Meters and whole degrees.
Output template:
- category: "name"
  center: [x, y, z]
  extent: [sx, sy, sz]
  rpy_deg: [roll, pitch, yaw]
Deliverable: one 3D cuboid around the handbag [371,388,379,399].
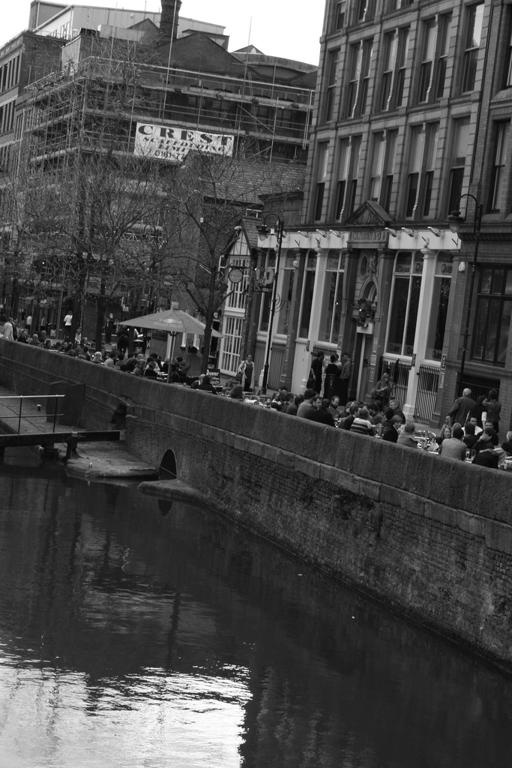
- category: "handbag"
  center: [3.881, 0.341, 29.160]
  extent: [0.159, 0.209, 0.389]
  rpy_deg: [3, -46, 3]
